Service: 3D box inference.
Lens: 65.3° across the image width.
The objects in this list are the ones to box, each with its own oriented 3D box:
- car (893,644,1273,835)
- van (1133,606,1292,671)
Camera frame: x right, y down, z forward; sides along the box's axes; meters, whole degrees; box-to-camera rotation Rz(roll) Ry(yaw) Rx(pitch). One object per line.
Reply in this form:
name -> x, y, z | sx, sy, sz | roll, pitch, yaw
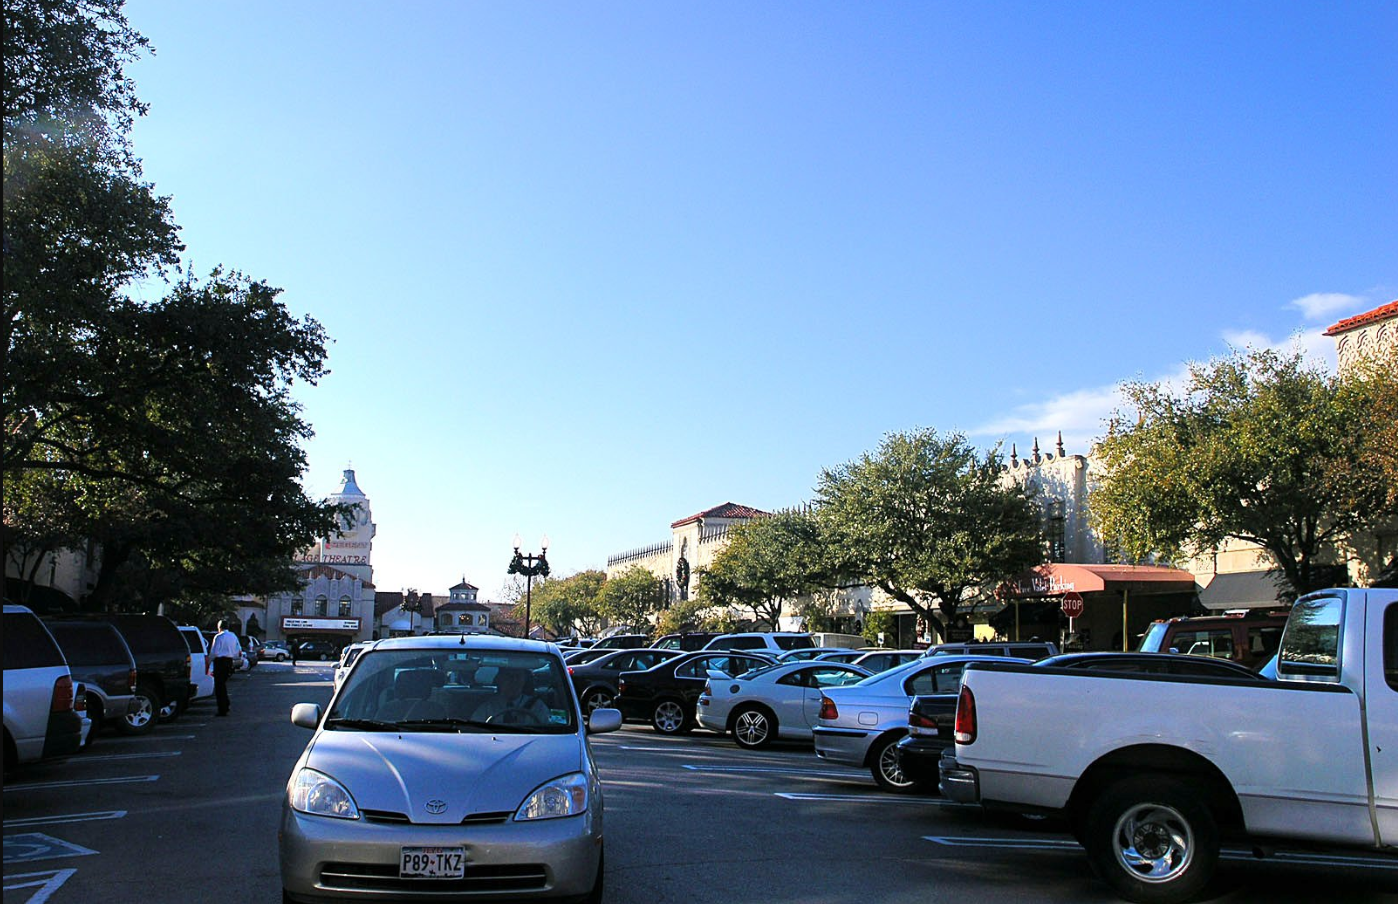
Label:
car -> 5.528, 3.853, 14.877 | 5.183, 1.712, 2.386 | -3, -6, -3
van -> 9.474, 3.345, 19.714 | 2.788, 1.491, 1.612 | 2, -8, 2
